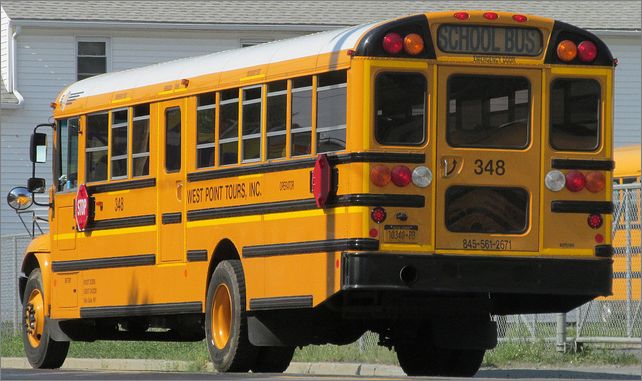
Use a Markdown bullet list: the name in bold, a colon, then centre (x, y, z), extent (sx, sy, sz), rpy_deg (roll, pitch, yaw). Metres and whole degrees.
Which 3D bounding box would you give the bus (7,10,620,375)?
- **bus**: centre (-0.064, 0.169, 17.337), extent (8.154, 5.050, 2.567), rpy_deg (-3, -3, 32)
